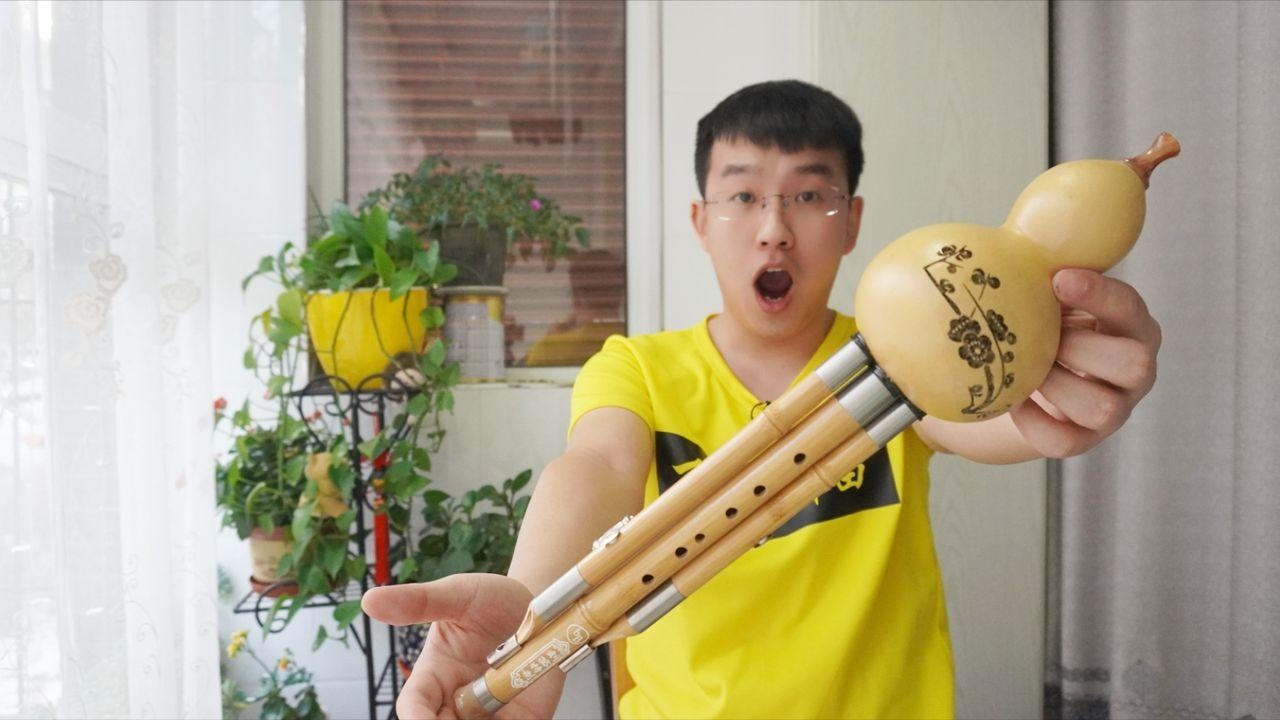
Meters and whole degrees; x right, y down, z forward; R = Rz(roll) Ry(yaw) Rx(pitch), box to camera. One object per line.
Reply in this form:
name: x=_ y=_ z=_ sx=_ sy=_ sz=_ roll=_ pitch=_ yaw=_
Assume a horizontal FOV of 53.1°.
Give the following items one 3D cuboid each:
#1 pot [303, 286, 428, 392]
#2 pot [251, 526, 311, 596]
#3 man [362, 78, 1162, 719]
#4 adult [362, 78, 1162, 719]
pot: x=-0.768 y=-0.048 z=3.624 sx=0.309 sy=0.225 sz=0.301 roll=-2 pitch=-2 yaw=0
pot: x=-1.042 y=0.571 z=3.635 sx=0.182 sy=0.187 sz=0.179 roll=0 pitch=-4 yaw=0
man: x=0.363 y=0.147 z=3.275 sx=1.571 sy=2.089 sz=1.093 roll=6 pitch=-13 yaw=4
adult: x=0.363 y=0.147 z=3.275 sx=1.571 sy=2.089 sz=1.093 roll=6 pitch=-13 yaw=4
